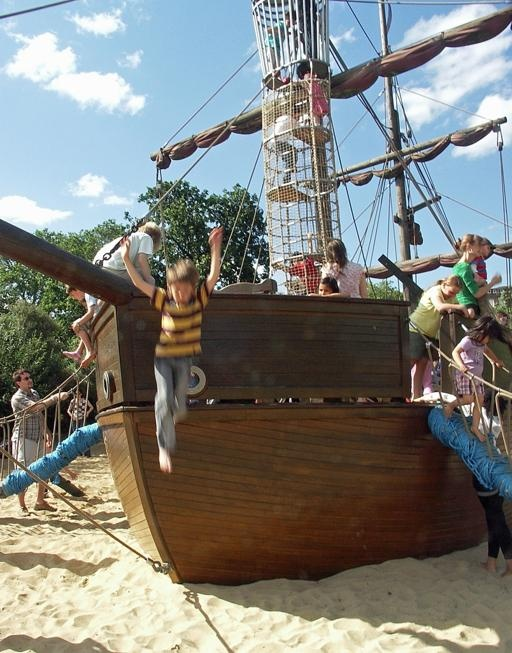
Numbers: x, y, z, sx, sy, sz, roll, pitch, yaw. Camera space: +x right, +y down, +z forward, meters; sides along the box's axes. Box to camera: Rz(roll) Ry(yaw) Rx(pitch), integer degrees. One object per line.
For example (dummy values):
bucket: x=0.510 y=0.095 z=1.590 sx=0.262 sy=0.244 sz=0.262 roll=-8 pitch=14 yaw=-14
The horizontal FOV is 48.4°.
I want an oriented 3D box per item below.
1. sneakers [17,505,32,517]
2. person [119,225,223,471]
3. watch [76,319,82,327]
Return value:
sneakers: x=-3.064 y=2.472 z=7.568 sx=0.096 sy=0.107 sz=0.249 roll=7 pitch=-29 yaw=-12
person: x=-0.429 y=0.125 z=3.092 sx=0.607 sy=1.345 sz=0.443 roll=-5 pitch=-6 yaw=6
watch: x=-1.832 y=-0.053 z=5.893 sx=0.070 sy=0.083 sz=0.092 roll=3 pitch=-31 yaw=-14
